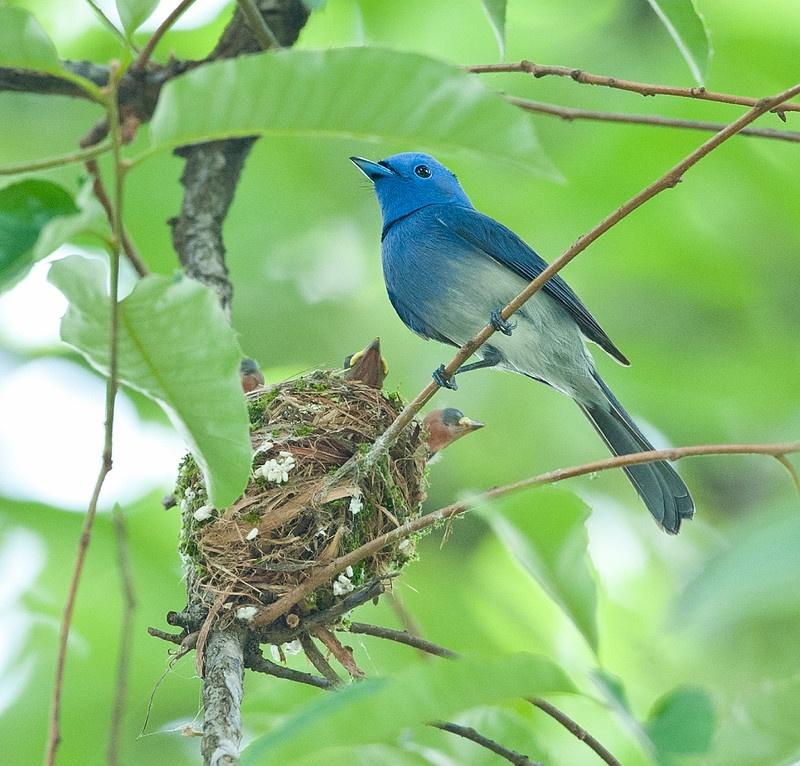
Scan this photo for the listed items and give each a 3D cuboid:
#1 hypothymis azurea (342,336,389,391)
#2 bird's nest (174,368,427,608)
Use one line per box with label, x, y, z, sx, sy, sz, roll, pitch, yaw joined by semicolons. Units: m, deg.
hypothymis azurea;-0.119;-0.065;4.205;0.109;0.081;0.227;14;-24;-2
bird's nest;-0.274;0.296;3.611;0.798;1.088;0.272;0;-58;-13
